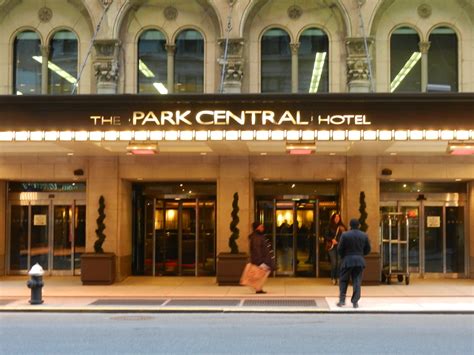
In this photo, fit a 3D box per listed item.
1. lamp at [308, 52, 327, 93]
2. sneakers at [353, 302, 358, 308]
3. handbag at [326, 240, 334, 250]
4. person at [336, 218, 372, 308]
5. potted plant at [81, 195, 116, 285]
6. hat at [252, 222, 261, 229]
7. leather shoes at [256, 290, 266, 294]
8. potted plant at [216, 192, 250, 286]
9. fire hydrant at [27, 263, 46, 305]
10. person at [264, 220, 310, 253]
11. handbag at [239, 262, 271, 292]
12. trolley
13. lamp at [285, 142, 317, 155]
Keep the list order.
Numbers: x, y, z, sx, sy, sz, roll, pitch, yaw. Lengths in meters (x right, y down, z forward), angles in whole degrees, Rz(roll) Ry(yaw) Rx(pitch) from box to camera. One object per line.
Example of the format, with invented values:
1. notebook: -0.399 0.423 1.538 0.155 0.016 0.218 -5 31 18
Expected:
1. lamp: 2.952 -3.901 27.851 0.614 1.457 0.282 -3 6 -33
2. sneakers: 3.388 3.670 21.734 0.171 0.149 0.334 1 5 10
3. handbag: 3.123 2.326 25.649 0.265 0.473 0.409 5 -11 9
4. person: 3.325 2.485 21.862 0.879 2.519 0.675 0 5 9
5. potted plant: -4.713 2.174 25.973 0.984 2.981 1.192 1 5 15
6. hat: 0.619 1.573 24.537 0.221 0.207 0.220 1 -5 -3
7. leather shoes: 0.757 3.640 23.979 0.291 0.205 0.128 0 0 -10
8. potted plant: -0.150 2.114 25.836 1.042 3.039 1.121 0 5 7
9. fire hydrant: -5.996 3.157 22.513 0.453 1.199 0.726 -2 5 -16
10. person: 1.966 2.173 27.348 1.349 1.234 0.318 -1 -3 3
11. handbag: 0.539 3.198 24.035 0.800 0.759 0.355 19 -1 -5
12. trolley: 5.530 2.438 26.533 1.057 2.427 1.647 1 5 11
13. lamp: 1.997 -0.916 23.911 0.926 0.397 0.886 0 5 3
